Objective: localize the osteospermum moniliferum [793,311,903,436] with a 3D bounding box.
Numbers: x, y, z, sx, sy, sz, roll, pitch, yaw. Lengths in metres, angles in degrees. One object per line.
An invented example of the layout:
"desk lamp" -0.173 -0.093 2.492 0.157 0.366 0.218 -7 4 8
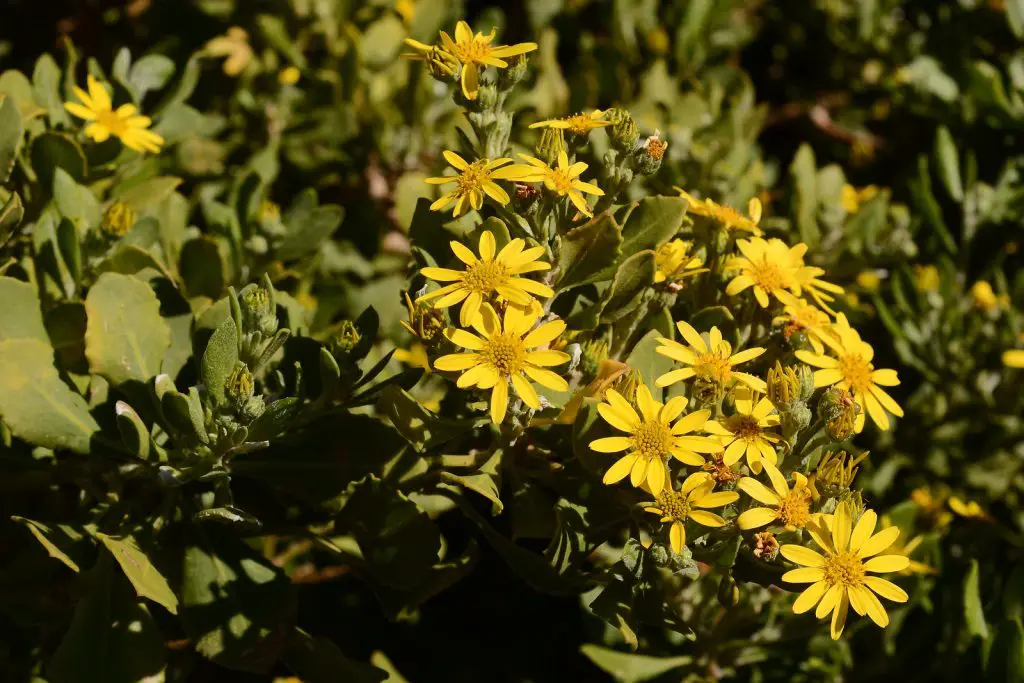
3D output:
"osteospermum moniliferum" 0.710 0.060 2.376 0.247 0.173 0.174 22 15 -2

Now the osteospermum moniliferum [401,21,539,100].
"osteospermum moniliferum" -0.096 -0.595 2.414 0.215 0.106 0.206 17 8 25

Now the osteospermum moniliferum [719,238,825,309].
"osteospermum moniliferum" 0.566 -0.149 2.451 0.188 0.108 0.135 27 16 14
